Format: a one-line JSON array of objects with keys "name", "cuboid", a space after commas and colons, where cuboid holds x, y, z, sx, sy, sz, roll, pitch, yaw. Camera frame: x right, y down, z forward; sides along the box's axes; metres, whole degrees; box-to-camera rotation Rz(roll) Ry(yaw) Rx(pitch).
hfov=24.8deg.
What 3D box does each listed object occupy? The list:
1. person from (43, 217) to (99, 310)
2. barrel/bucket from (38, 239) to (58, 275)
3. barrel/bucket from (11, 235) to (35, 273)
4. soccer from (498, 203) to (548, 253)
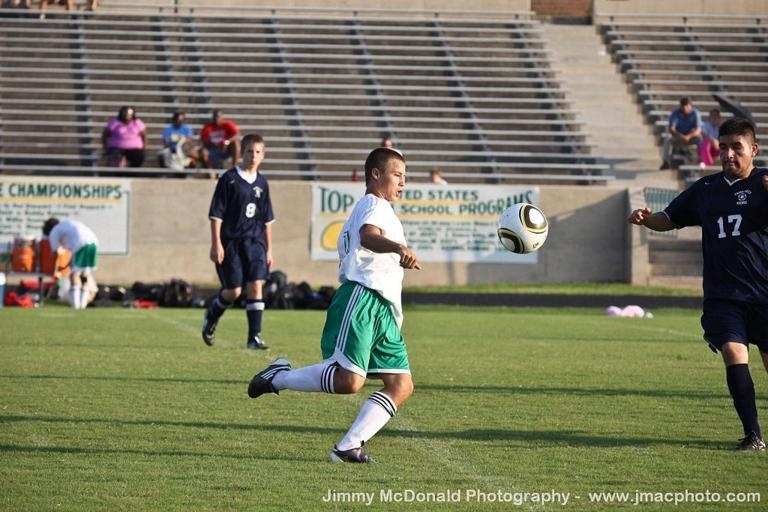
[{"name": "person", "cuboid": [-7.462, 0.025, 41.686, 1.085, 2.386, 1.029, 2, -4, -14]}, {"name": "barrel/bucket", "cuboid": [-8.046, 0.017, 42.068, 0.506, 0.766, 0.511, 6, 1, 0]}, {"name": "barrel/bucket", "cuboid": [-8.806, -0.050, 41.893, 0.702, 1.036, 0.750, 1, -2, 0]}, {"name": "soccer", "cuboid": [2.716, -0.550, 34.164, 0.920, 0.934, 0.470, 3, 14, 3]}]
